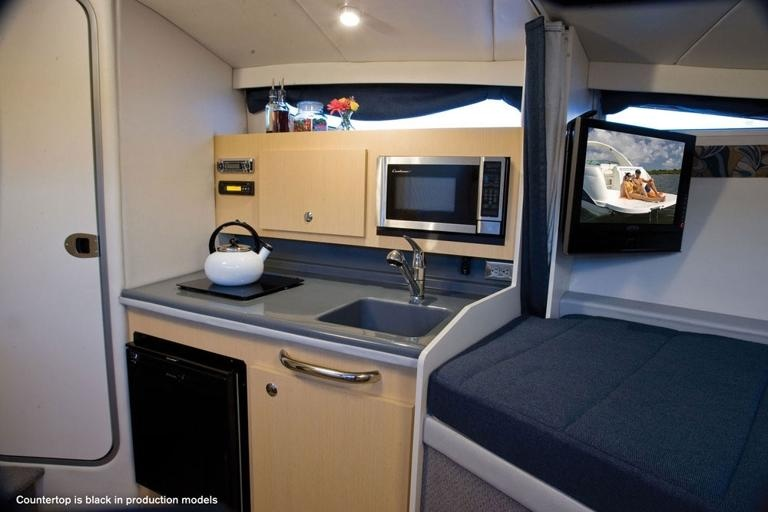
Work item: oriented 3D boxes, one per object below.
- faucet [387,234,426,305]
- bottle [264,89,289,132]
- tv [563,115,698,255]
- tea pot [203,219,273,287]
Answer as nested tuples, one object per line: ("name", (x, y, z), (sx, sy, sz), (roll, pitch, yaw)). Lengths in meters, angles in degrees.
("faucet", (0.114, 0.063, 2.564), (0.135, 0.312, 0.274), (3, 12, 15))
("bottle", (-0.583, -0.783, 2.948), (0.119, 0.235, 0.232), (-4, 12, -18))
("tv", (1.142, -0.323, 2.569), (0.650, 0.472, 0.030), (4, 5, -11))
("tea pot", (-0.763, -0.051, 2.782), (0.350, 0.344, 0.303), (-4, 15, -20))
